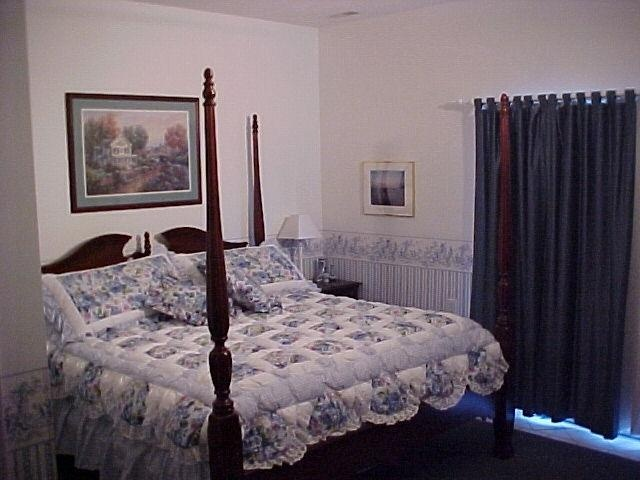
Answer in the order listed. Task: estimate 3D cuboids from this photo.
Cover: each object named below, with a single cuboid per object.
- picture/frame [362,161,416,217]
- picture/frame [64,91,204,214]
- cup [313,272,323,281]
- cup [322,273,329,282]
[{"bbox_3d":[0.738,-0.540,5.413,0.556,0.516,0.044,5,6,42],"label":"picture/frame"},{"bbox_3d":[-1.673,-0.776,4.546,1.068,0.924,0.046,-5,4,-43],"label":"picture/frame"},{"bbox_3d":[-0.027,0.421,5.803,0.056,0.109,0.100,0,-4,43],"label":"cup"},{"bbox_3d":[0.071,0.422,5.701,0.065,0.105,0.066,0,4,0],"label":"cup"}]
